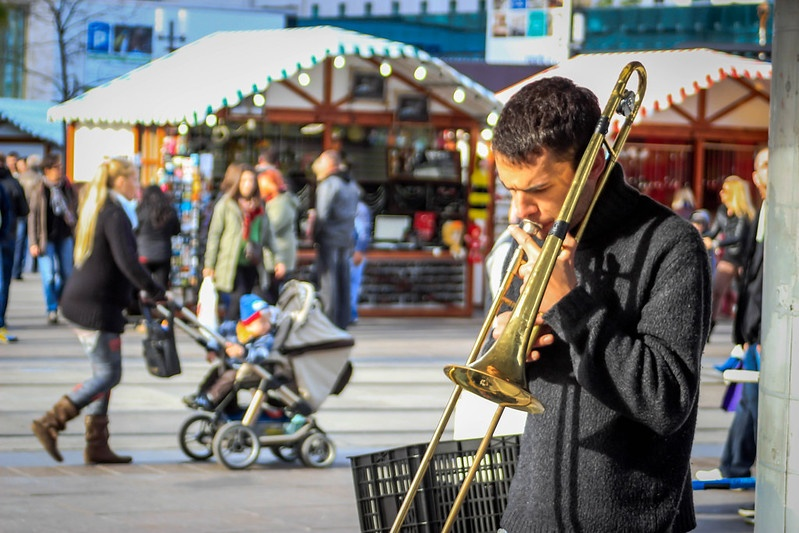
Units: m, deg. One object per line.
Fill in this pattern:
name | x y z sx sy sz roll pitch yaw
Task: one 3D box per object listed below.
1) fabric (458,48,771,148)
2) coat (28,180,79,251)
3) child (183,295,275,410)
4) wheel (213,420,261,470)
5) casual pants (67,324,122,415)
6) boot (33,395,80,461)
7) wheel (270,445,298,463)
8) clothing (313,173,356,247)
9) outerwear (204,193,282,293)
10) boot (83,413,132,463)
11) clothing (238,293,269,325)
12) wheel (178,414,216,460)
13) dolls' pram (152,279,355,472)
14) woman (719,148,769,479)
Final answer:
fabric | 4.489 -2.636 29.468 3.254 0.918 3.820 -10 1 14
coat | -4.384 -0.735 23.965 0.838 1.196 0.319 1 0 9
child | -1.626 0.888 18.856 0.802 1.162 0.290 2 1 15
wheel | -1.591 1.803 18.771 0.403 0.423 0.158 -10 11 -21
casual pants | -3.010 1.063 18.725 0.522 0.865 0.231 1 1 -9
boot | -3.375 1.635 18.655 0.446 0.671 0.203 1 1 -11
wheel | -1.126 1.925 19.067 0.203 0.089 0.184 7 3 -16
clothing | -0.736 -0.664 23.402 0.451 0.939 0.731 -1 -6 24
outerwear | -2.030 -0.280 22.596 0.934 1.147 0.301 3 5 -8
boot | -2.815 1.775 18.711 0.607 0.589 0.275 0 0 -22
clothing | -1.465 0.423 18.911 0.302 0.199 0.225 -24 8 34
wheel | -2.023 1.746 19.088 0.423 0.445 0.433 2 -2 0
dolls' pram | -1.492 1.104 19.159 2.106 1.871 0.937 1 2 -11
woman | 3.454 0.449 18.529 0.434 3.290 0.481 2 -11 -11
